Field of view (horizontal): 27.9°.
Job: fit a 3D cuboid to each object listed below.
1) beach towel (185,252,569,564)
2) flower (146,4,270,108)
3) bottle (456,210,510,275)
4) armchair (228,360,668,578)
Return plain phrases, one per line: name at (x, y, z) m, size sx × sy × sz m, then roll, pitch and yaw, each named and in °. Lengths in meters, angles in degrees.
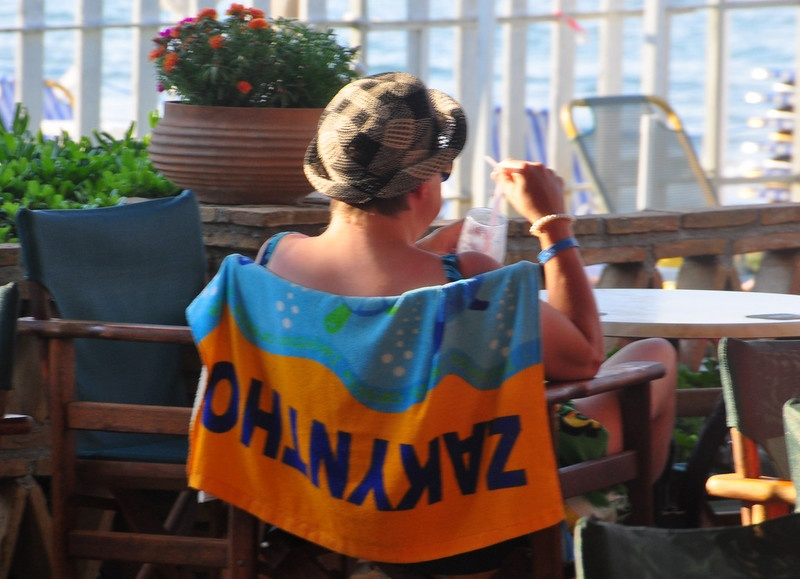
beach towel at (-0.087, 0.397, 5.338) m, size 1.515 × 0.918 × 0.175 m, roll 12°, pitch -20°, yaw -36°
flower at (-0.785, -0.970, 6.684) m, size 0.635 × 0.352 × 0.438 m, roll -4°, pitch 18°, yaw 12°
bottle at (0.356, -0.173, 5.553) m, size 0.241 × 0.179 × 0.205 m, roll 13°, pitch -7°, yaw -3°
armchair at (0.439, 0.533, 5.833) m, size 0.921 × 0.795 × 1.012 m, roll -1°, pitch 0°, yaw -6°
